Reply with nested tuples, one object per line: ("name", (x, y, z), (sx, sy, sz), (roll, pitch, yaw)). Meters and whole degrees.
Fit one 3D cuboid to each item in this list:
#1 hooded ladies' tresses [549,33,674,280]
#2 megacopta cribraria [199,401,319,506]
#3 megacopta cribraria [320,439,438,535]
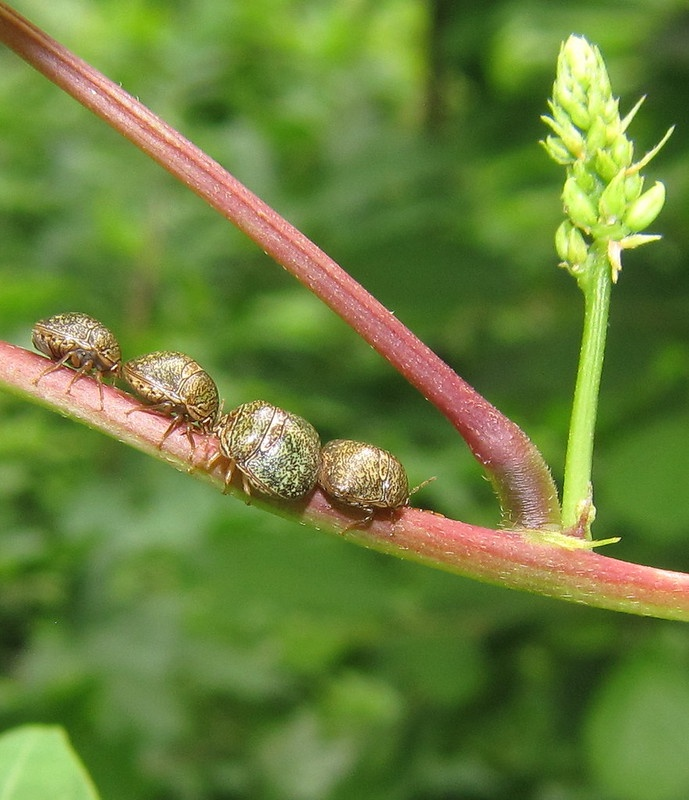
("hooded ladies' tresses", (0.331, -0.308, 1.172), (0.164, 0.307, 0.193), (14, 27, 41))
("megacopta cribraria", (-0.116, 0.075, 1.297), (0.157, 0.103, 0.182), (-18, 26, -2))
("megacopta cribraria", (0.027, 0.123, 1.300), (0.112, 0.116, 0.175), (-17, 27, 5))
